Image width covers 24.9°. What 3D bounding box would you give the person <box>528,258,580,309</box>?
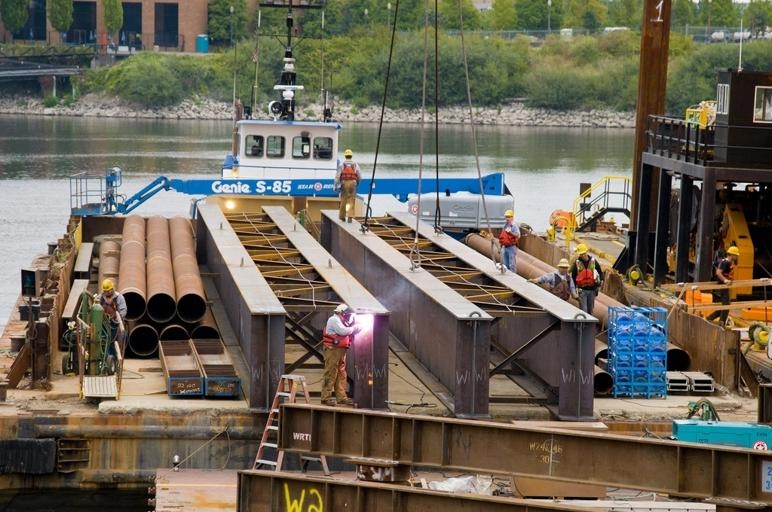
[{"bbox_3d":[6.997,0.960,70.345,1.405,1.658,0.797,-2,9,5],"label":"person"}]

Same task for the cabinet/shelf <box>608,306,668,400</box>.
[{"bbox_3d":[9.946,3.698,68.835,2.266,3.497,0.649,-3,9,2],"label":"cabinet/shelf"}]

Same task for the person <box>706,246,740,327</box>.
[{"bbox_3d":[14.132,1.151,72.631,1.080,3.571,1.303,2,-2,1],"label":"person"}]
